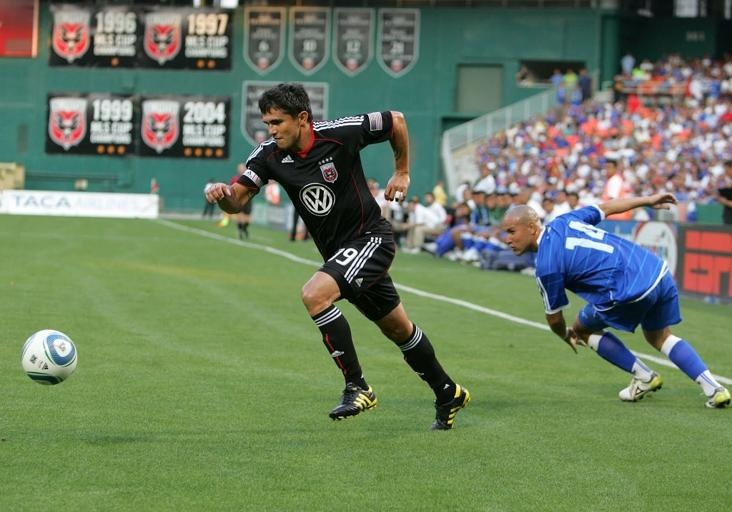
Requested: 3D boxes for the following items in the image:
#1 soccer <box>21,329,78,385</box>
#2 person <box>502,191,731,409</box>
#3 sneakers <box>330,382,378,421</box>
[{"bbox_3d":[-2.212,0.694,7.256,0.407,0.436,0.405,-4,8,-45],"label":"soccer"},{"bbox_3d":[1.857,0.326,7.849,1.685,1.530,0.873,3,11,7],"label":"person"},{"bbox_3d":[-0.078,0.985,7.126,0.155,0.236,0.477,-5,3,36],"label":"sneakers"}]
